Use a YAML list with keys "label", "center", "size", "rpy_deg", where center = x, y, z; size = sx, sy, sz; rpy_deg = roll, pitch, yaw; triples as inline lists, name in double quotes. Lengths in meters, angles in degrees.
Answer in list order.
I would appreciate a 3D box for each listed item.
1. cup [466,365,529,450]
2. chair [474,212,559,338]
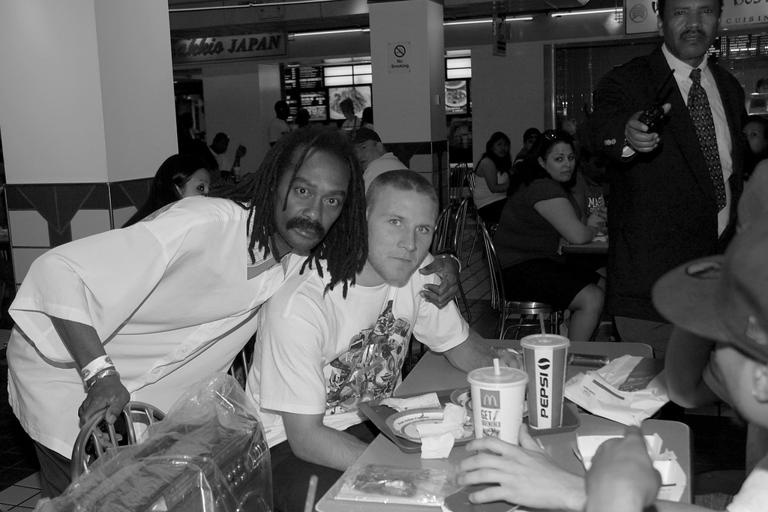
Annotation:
- label: "cup"
  center: [0.301, 0.388, 1.638]
  size: [0.146, 0.232, 0.155]
  rpy_deg: [-2, 10, 0]
- label: "chair"
  center: [0.954, 0.332, 4.416]
  size: [0.525, 1.029, 0.456]
  rpy_deg: [0, 3, -2]
